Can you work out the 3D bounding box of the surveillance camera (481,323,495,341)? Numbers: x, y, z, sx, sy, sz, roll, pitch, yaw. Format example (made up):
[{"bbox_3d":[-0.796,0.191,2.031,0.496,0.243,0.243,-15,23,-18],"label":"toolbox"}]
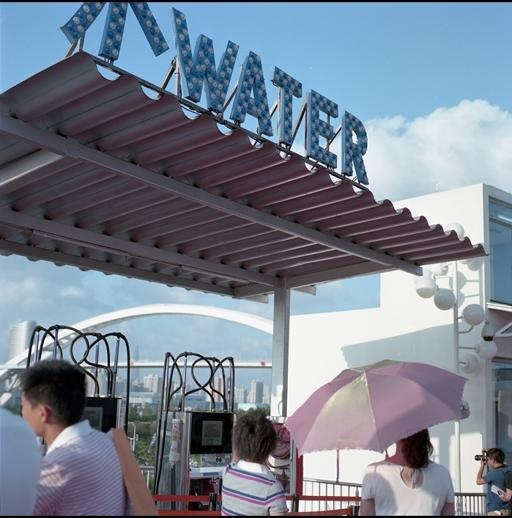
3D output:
[{"bbox_3d":[3.676,1.158,10.475,0.212,0.285,0.295,4,7,19],"label":"surveillance camera"}]
